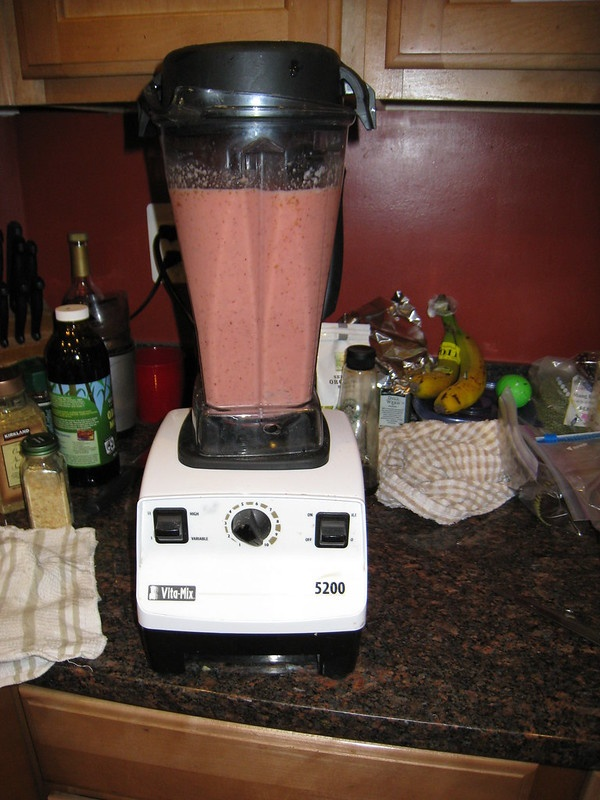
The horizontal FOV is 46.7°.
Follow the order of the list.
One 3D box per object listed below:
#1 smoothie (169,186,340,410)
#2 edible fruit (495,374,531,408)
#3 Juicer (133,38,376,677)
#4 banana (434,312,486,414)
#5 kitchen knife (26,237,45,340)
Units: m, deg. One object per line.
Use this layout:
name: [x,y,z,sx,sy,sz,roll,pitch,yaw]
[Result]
smoothie: [-0.039,-0.136,0.800,0.198,0.319,0.196,-1,18,-7]
edible fruit: [0.333,-0.013,1.083,0.033,0.032,0.039,22,39,-6]
Juicer: [-0.046,-0.044,0.657,0.227,0.527,0.307,0,24,4]
banana: [0.251,-0.054,1.107,0.056,0.117,0.184,-11,44,31]
kitchen knife: [-0.426,-0.176,1.119,0.013,0.176,0.119,-6,38,-23]
